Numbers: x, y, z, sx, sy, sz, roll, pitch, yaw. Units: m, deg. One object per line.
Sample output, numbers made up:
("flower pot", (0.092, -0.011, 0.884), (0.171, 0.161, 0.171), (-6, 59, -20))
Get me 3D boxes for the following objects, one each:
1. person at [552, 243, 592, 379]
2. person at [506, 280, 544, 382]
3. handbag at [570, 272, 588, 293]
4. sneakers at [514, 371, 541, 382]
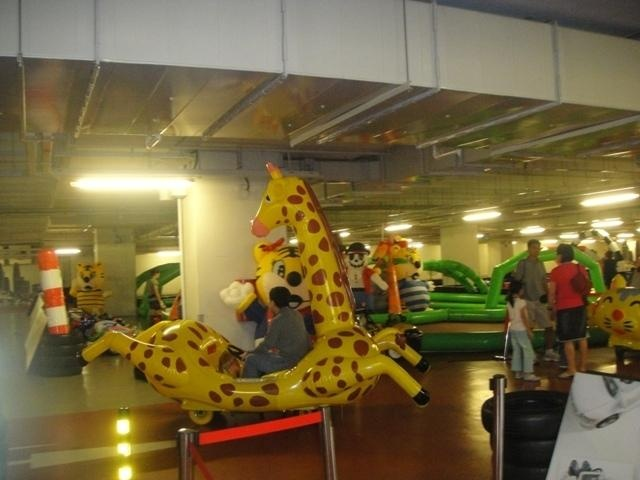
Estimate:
("person", (3.440, 0.968, 7.204), (0.496, 1.576, 0.357), (-4, -2, 19))
("person", (2.806, 1.270, 7.357), (0.291, 1.163, 0.413), (-4, -2, 1))
("handbag", (3.518, 0.582, 7.181), (0.231, 0.246, 0.314), (-22, -2, 32))
("sneakers", (2.853, 1.891, 7.270), (0.373, 0.099, 0.124), (-2, -2, 24))
